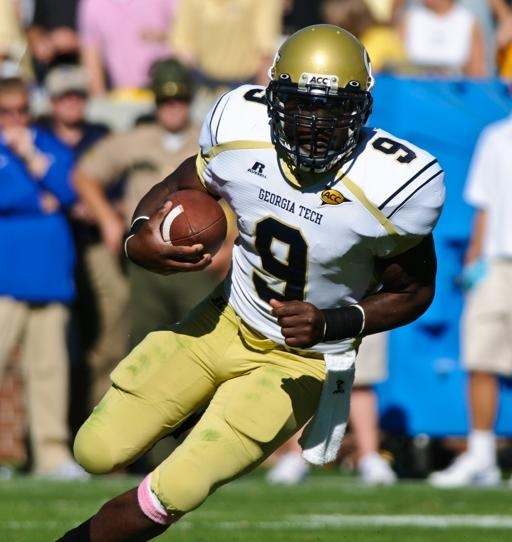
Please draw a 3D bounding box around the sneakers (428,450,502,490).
[{"bbox_3d":[1.044,1.016,4.513,0.367,0.161,0.130,2,83,-3],"label":"sneakers"}]

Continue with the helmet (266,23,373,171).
[{"bbox_3d":[0.191,-0.568,2.866,0.381,0.378,0.432,5,29,1],"label":"helmet"}]
